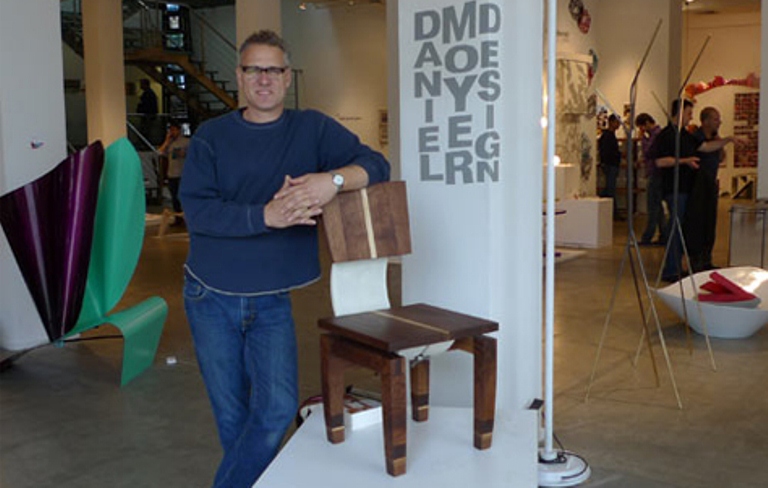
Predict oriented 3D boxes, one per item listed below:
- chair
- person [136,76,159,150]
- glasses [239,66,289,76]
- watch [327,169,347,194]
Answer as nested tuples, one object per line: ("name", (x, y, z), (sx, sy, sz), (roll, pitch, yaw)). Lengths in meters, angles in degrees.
("chair", (0.084, 0.371, 3.226), (0.723, 1.276, 0.853), (-3, 7, -29))
("person", (-5.539, -3.096, 15.023), (0.428, 1.513, 0.879), (-4, 12, -20))
("glasses", (-0.630, -0.914, 3.369), (0.232, 0.042, 0.067), (-3, 12, -14))
("watch", (-0.241, -0.332, 3.353), (0.068, 0.110, 0.100), (-12, -7, -17))
